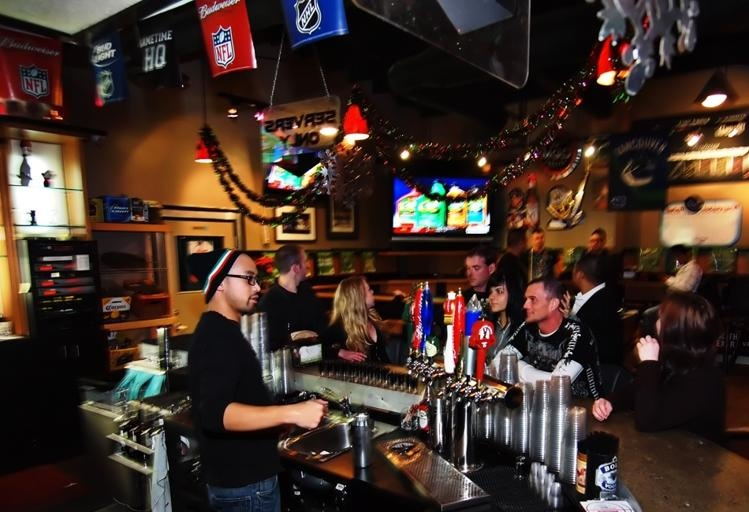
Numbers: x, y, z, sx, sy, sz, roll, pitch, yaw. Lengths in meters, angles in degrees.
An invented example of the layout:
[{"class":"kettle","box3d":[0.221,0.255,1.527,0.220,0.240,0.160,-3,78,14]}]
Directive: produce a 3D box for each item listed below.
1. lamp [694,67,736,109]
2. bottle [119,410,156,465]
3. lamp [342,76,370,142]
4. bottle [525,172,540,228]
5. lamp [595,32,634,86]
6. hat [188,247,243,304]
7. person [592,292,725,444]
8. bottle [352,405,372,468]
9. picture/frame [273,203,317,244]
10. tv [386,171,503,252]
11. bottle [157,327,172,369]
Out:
[{"class":"lamp","box3d":[3.783,-1.880,5.995,0.354,0.352,0.341,1,1,32]},{"class":"bottle","box3d":[-1.880,1.408,4.298,0.469,0.336,0.174,4,2,41]},{"class":"lamp","box3d":[-0.205,-1.568,5.743,0.276,0.676,0.718,0,1,-2]},{"class":"bottle","box3d":[2.640,-0.911,9.039,0.088,0.890,0.237,-1,2,-38]},{"class":"lamp","box3d":[2.014,-1.654,4.605,0.231,0.418,0.542,1,1,22]},{"class":"hat","box3d":[-1.061,0.122,3.689,0.395,0.311,0.293,-29,6,-2]},{"class":"person","box3d":[2.010,0.734,3.690,0.748,0.949,0.385,0,2,0]},{"class":"bottle","box3d":[-0.082,1.125,3.279,0.117,0.349,0.049,0,2,-2]},{"class":"picture/frame","box3d":[-1.208,-0.481,8.296,0.145,0.570,0.828,2,1,34]},{"class":"tv","box3d":[1.158,-0.753,8.825,1.629,1.040,0.216,1,-1,3]},{"class":"bottle","box3d":[-1.757,0.781,4.506,0.092,0.355,0.132,0,2,-27]}]
